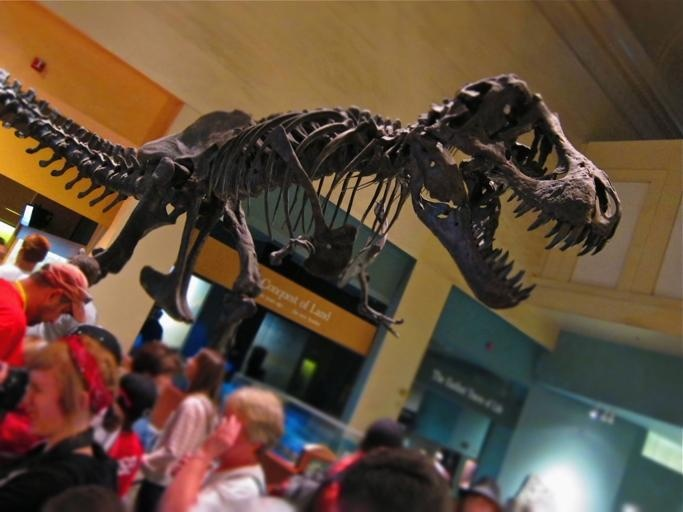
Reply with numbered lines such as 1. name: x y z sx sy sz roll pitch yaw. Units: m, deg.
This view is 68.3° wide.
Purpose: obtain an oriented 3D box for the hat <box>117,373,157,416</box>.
1. hat: -0.806 0.544 2.038 0.123 0.167 0.162 5 10 -22

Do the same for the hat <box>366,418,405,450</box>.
1. hat: 0.181 0.758 2.122 0.106 0.115 0.137 30 -13 3

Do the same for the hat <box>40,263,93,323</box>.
1. hat: -1.320 0.184 2.426 0.282 0.151 0.185 49 -11 -33
